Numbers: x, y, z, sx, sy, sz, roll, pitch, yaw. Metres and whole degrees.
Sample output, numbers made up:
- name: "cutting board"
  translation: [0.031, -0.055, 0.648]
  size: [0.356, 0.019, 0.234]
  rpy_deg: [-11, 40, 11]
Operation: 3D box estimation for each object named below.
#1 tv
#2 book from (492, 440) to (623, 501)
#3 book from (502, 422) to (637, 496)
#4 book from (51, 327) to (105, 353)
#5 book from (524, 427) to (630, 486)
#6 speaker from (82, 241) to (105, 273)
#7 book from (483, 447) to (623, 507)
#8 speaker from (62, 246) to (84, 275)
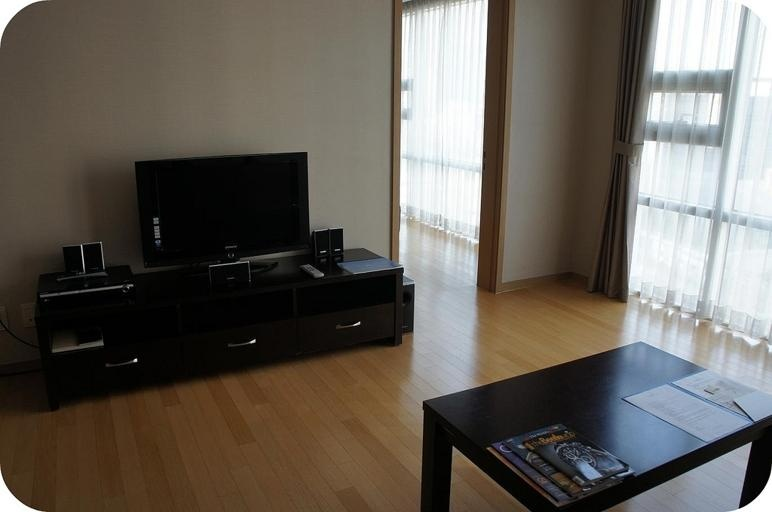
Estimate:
- name: "tv"
  translation: [-1.194, -0.307, 3.834]
  size: [0.851, 0.571, 0.085]
  rpy_deg: [-6, 12, -20]
- name: "book"
  translation: [0.660, 0.909, 2.314]
  size: [0.256, 0.042, 0.238]
  rpy_deg: [-1, 21, -32]
- name: "book"
  translation: [0.749, 0.875, 2.357]
  size: [0.281, 0.066, 0.269]
  rpy_deg: [-12, 25, -29]
- name: "book"
  translation: [-1.974, 0.524, 3.504]
  size: [0.213, 0.052, 0.190]
  rpy_deg: [-6, 22, -24]
- name: "book"
  translation: [0.820, 0.855, 2.385]
  size: [0.202, 0.061, 0.253]
  rpy_deg: [-11, 21, -29]
- name: "speaker"
  translation: [-1.941, 0.013, 3.618]
  size: [0.122, 0.177, 0.122]
  rpy_deg: [-12, 20, -23]
- name: "book"
  translation: [0.662, 0.907, 2.320]
  size: [0.267, 0.056, 0.249]
  rpy_deg: [-9, 22, -37]
- name: "speaker"
  translation: [-2.041, 0.024, 3.582]
  size: [0.125, 0.173, 0.099]
  rpy_deg: [-13, 21, -27]
